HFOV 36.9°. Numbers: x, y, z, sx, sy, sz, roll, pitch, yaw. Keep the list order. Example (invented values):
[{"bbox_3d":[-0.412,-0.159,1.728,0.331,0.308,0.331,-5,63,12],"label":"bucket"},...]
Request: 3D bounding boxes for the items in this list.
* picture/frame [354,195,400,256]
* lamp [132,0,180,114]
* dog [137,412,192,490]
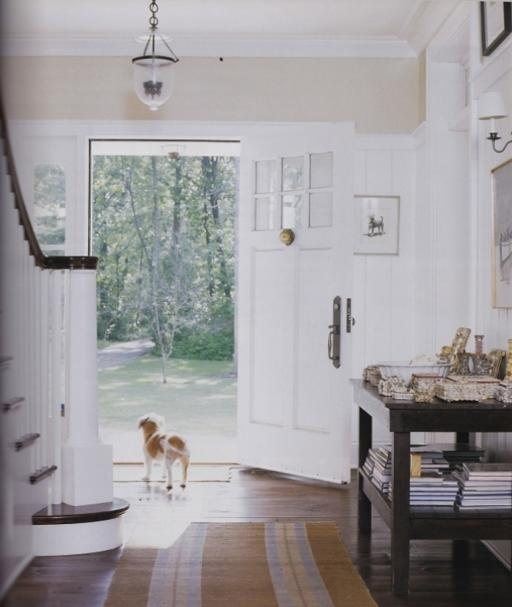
[{"bbox_3d":[0.789,-0.499,4.949,0.369,0.509,0.018,0,0,-1],"label":"picture/frame"},{"bbox_3d":[-0.549,-1.389,4.216,0.243,0.602,0.859,0,0,-9],"label":"lamp"},{"bbox_3d":[-0.531,0.860,4.457,0.379,0.418,0.225,0,0,31],"label":"dog"}]
